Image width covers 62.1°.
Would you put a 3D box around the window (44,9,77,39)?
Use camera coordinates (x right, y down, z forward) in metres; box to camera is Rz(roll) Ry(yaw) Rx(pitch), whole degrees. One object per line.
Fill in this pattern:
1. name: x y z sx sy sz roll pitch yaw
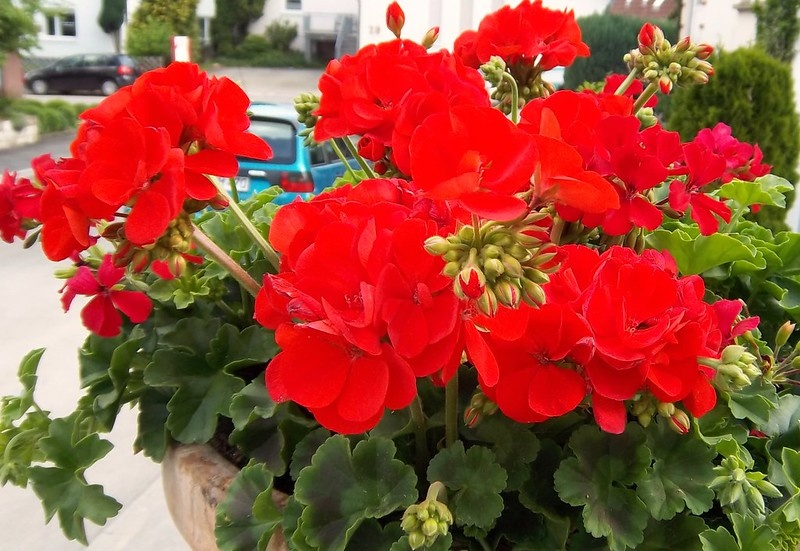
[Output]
1. window: -8.243 -6.227 16.189 0.437 0.722 1.457 2 11 -15

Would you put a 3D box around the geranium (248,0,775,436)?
1. geranium: 0.155 -0.015 1.121 0.664 0.585 0.706 1 44 -2

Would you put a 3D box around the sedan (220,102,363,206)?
1. sedan: -0.737 -0.770 5.112 0.706 0.696 1.355 1 4 26
